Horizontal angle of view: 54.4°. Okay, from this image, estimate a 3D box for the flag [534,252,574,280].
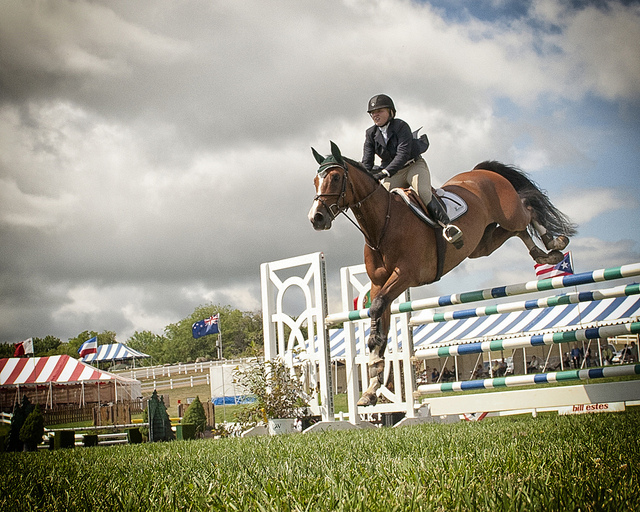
[{"bbox_3d":[4.152,0.210,11.140,0.718,0.818,0.127,-3,-2,-28],"label":"flag"}]

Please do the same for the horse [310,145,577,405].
[{"bbox_3d":[1.258,-0.160,6.529,3.112,2.324,0.897,7,-19,-33],"label":"horse"}]

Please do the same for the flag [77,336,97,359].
[{"bbox_3d":[-13.967,5.459,37.657,0.819,1.144,1.346,5,-19,-29],"label":"flag"}]

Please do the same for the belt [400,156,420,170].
[{"bbox_3d":[0.961,-0.990,6.630,0.134,0.040,0.144,-32,-2,36],"label":"belt"}]

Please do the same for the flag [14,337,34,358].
[{"bbox_3d":[-12.764,3.980,26.859,0.632,0.729,2.260,5,-20,-29],"label":"flag"}]
